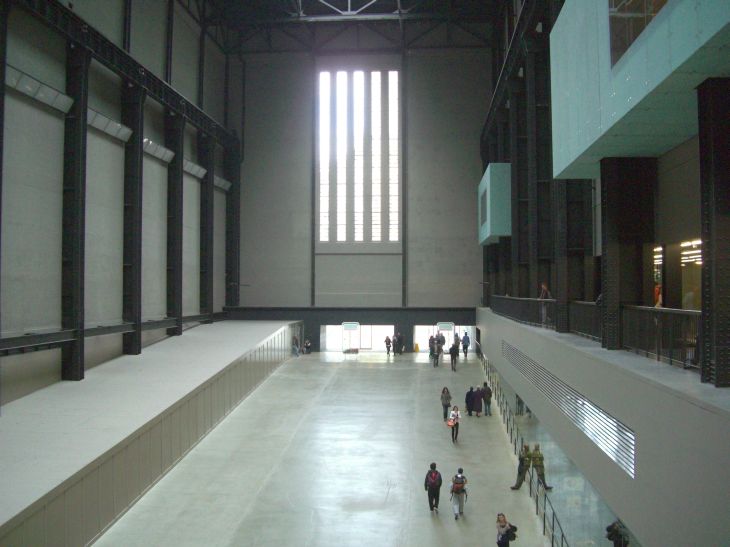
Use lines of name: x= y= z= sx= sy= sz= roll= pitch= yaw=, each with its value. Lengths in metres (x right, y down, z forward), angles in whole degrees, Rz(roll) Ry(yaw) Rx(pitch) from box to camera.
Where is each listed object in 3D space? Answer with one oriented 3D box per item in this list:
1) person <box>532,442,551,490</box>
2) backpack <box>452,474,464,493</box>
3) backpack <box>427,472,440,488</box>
person: x=5.563 y=6.012 z=19.232 sx=0.555 sy=1.036 sz=1.276 roll=0 pitch=5 yaw=12
backpack: x=2.747 y=6.054 z=17.812 sx=0.300 sy=0.503 sz=0.447 roll=1 pitch=-6 yaw=7
backpack: x=2.051 y=6.016 z=18.061 sx=0.346 sy=0.418 sz=0.179 roll=1 pitch=10 yaw=6
